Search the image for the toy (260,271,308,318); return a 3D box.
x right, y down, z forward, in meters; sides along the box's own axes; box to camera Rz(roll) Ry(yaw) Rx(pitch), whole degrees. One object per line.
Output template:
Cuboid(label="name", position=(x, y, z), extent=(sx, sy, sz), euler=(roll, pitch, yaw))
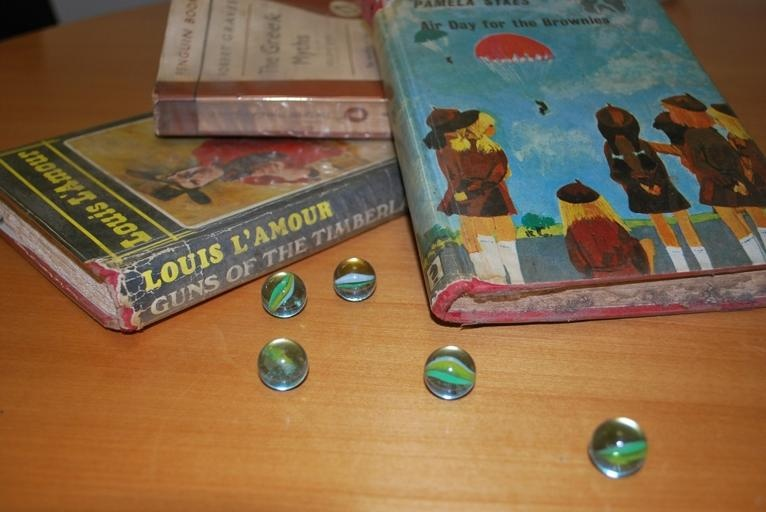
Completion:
Cuboid(label="toy", position=(-0.105, 0.045, 0.732), extent=(0.055, 0.030, 0.048), euler=(12, 68, 7))

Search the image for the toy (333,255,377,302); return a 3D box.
Cuboid(label="toy", position=(-0.030, 0.029, 0.747), extent=(0.053, 0.026, 0.045), euler=(-5, 68, -4))

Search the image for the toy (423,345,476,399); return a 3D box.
Cuboid(label="toy", position=(0.071, 0.123, 0.684), extent=(0.052, 0.037, 0.047), euler=(-15, 43, -18))

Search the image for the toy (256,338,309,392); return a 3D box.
Cuboid(label="toy", position=(-0.107, 0.113, 0.675), extent=(0.058, 0.029, 0.049), euler=(5, 68, -5))

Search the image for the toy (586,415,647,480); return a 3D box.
Cuboid(label="toy", position=(0.238, 0.188, 0.635), extent=(0.059, 0.014, 0.050), euler=(4, 67, 3))
